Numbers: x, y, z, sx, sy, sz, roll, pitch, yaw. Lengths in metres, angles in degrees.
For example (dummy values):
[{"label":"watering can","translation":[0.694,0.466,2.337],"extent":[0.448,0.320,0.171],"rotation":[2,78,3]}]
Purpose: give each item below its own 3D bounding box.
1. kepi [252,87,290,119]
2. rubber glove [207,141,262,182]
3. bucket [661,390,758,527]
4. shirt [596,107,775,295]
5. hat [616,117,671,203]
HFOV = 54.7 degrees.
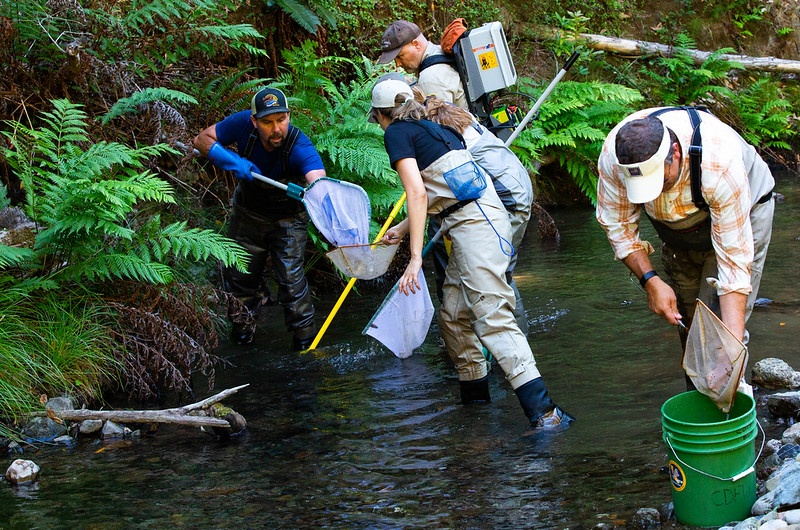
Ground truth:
[{"label":"kepi","translation":[-1.305,-1.589,7.559],"extent":[0.329,0.287,0.242],"rotation":[-13,13,-13]},{"label":"rubber glove","translation":[-1.704,-1.034,7.833],"extent":[0.509,0.187,0.300],"rotation":[28,-3,-9]},{"label":"bucket","translation":[1.992,1.284,5.202],"extent":[0.550,0.734,0.606],"rotation":[-5,13,20]},{"label":"shirt","translation":[2.188,-0.562,6.077],"extent":[1.294,1.430,1.278],"rotation":[-29,28,-35]},{"label":"hat","translation":[1.609,-0.802,5.516],"extent":[0.446,0.658,0.337],"rotation":[-2,-23,11]}]
